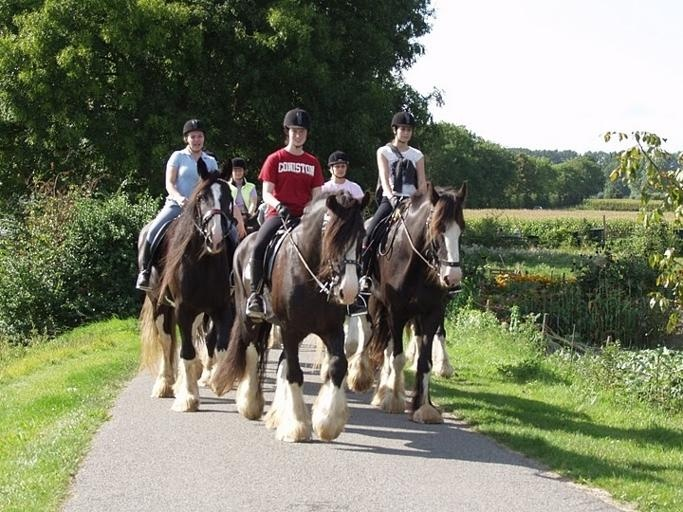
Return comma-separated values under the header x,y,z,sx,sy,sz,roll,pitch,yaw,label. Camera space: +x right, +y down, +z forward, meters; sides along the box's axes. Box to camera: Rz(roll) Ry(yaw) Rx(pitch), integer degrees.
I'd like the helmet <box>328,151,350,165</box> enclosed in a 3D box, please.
x,y,z,sx,sy,sz,roll,pitch,yaw,label
-0.129,-2.036,16.655,0.338,0.317,0.449,0,-11,-40,helmet

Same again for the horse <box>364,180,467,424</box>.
x,y,z,sx,sy,sz,roll,pitch,yaw,label
1.210,0.760,13.793,0.734,4.018,2.246,-2,9,-27,horse

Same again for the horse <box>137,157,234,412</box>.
x,y,z,sx,sy,sz,roll,pitch,yaw,label
-2.834,0.741,15.017,1.165,3.962,5.025,0,-7,-21,horse

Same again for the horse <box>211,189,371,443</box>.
x,y,z,sx,sy,sz,roll,pitch,yaw,label
-0.722,0.862,12.660,0.861,3.849,2.806,-5,11,-41,horse

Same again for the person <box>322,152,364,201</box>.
x,y,z,sx,sy,sz,roll,pitch,yaw,label
-0.017,-1.568,16.635,0.892,1.068,0.546,-4,2,9,person

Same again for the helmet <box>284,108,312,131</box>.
x,y,z,sx,sy,sz,roll,pitch,yaw,label
-0.766,-2.232,13.325,0.279,0.269,0.398,2,5,-15,helmet

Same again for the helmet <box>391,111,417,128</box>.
x,y,z,sx,sy,sz,roll,pitch,yaw,label
1.103,-2.439,14.635,0.305,0.229,0.313,-3,1,-44,helmet

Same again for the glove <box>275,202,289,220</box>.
x,y,z,sx,sy,sz,roll,pitch,yaw,label
-0.966,-0.714,13.135,0.077,0.262,0.176,-19,1,-25,glove
